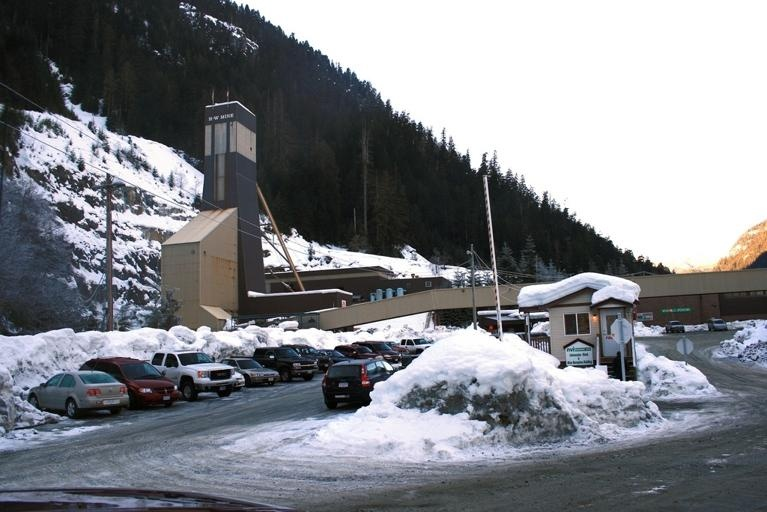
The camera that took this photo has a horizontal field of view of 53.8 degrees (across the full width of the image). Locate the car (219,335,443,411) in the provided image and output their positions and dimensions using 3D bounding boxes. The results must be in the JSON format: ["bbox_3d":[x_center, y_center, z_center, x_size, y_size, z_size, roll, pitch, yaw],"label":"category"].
[{"bbox_3d":[-1.250,6.940,42.818,3.095,3.224,8.818,-1,-3,18],"label":"car"}]

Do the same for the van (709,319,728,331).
[{"bbox_3d":[36.843,7.684,83.720,1.009,0.945,2.130,-6,-16,22],"label":"van"}]

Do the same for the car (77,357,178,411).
[{"bbox_3d":[-14.190,7.416,43.739,6.436,2.739,2.554,-3,-4,38],"label":"car"}]

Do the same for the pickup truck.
[{"bbox_3d":[-12.749,7.621,48.224,6.740,3.191,3.875,-5,-5,36],"label":"pickup truck"}]

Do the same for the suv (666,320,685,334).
[{"bbox_3d":[33.136,8.213,86.733,1.070,0.930,2.349,-1,-1,8],"label":"suv"}]
